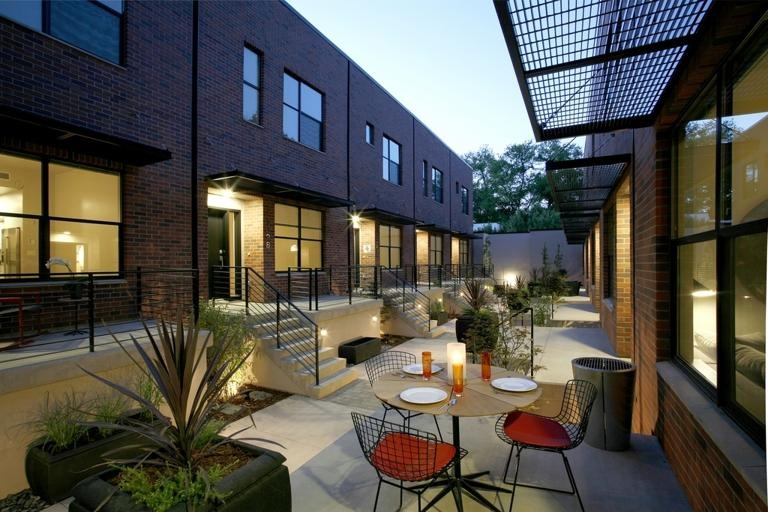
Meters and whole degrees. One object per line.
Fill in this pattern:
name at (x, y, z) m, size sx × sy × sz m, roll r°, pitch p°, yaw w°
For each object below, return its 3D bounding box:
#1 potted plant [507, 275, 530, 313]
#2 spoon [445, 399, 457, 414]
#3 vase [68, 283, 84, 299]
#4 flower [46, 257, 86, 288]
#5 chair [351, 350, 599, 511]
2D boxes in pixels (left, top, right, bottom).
potted plant at (4.848, 1.357, 17.059) m, size 0.876 × 1.657 × 1.026 m, roll 1°, pitch -2°, yaw -3°
spoon at (0.807, 1.786, 5.602) m, size 0.147 × 0.173 × 0.338 m, roll -5°, pitch -1°, yaw 10°
vase at (-4.899, 0.545, 7.663) m, size 0.246 × 0.272 × 0.275 m, roll -4°, pitch -4°, yaw 39°
flower at (-5.304, 0.261, 7.929) m, size 0.556 × 0.429 × 1.212 m, roll -4°, pitch -1°, yaw -34°
chair at (1.205, 2.363, 6.165) m, size 1.974 × 1.120 × 2.221 m, roll -2°, pitch -2°, yaw 24°
